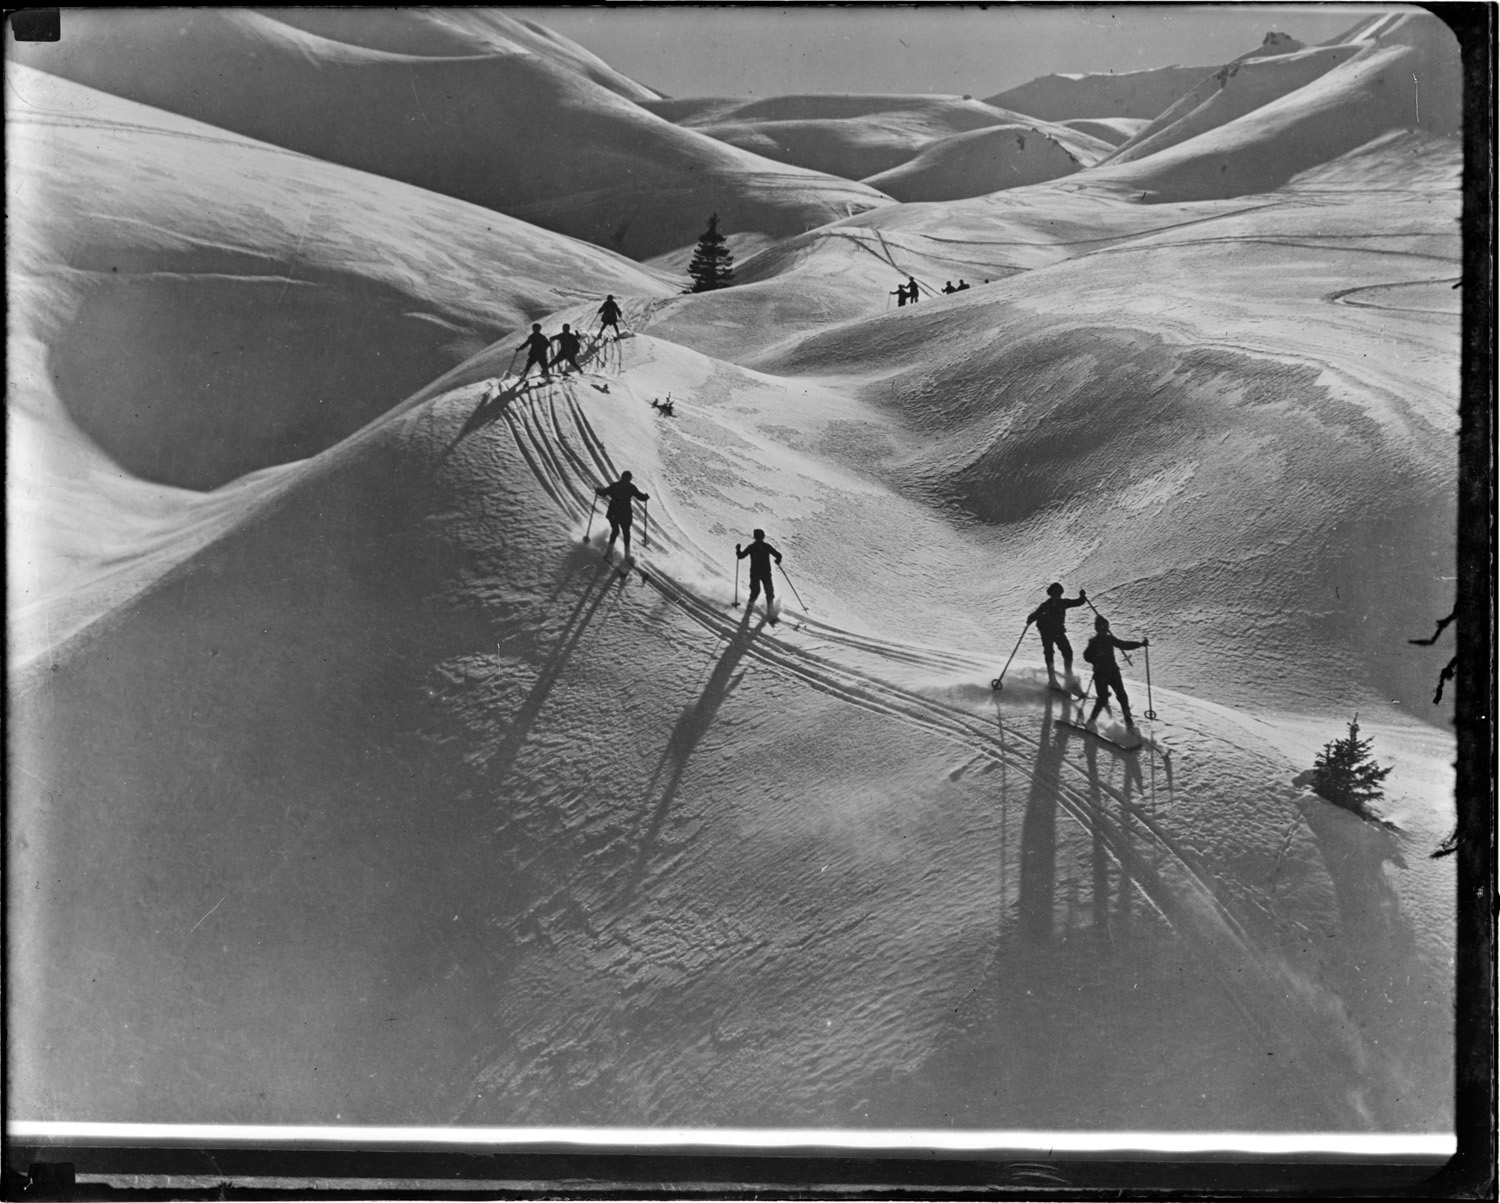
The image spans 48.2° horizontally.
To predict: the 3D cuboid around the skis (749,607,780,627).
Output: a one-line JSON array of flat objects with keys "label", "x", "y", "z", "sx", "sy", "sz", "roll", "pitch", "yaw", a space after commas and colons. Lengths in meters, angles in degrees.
[{"label": "skis", "x": 0.340, "y": 0.268, "z": 30.211, "sx": 0.344, "sy": 0.277, "sz": 0.085, "roll": 9, "pitch": -24, "yaw": -2}]
